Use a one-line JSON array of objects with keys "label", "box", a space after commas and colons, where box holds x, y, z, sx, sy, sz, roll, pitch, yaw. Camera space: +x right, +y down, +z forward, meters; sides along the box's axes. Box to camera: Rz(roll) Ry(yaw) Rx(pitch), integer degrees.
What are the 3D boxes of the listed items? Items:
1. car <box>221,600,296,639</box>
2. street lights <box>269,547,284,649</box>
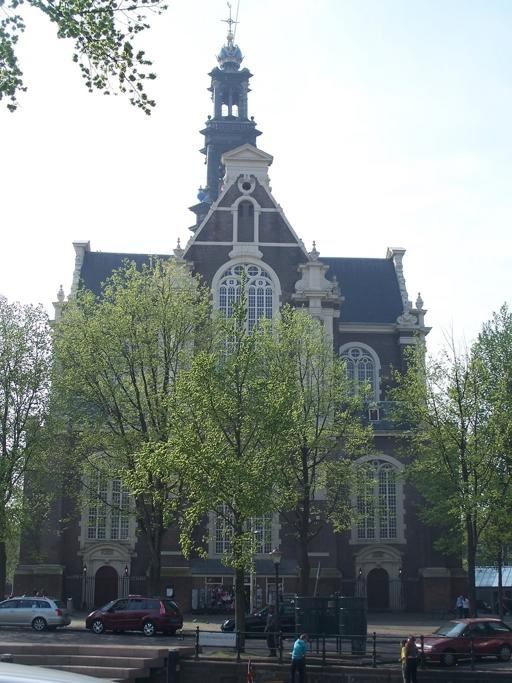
[{"label": "car", "box": [0.353, 10.133, 41.455, 3.611, 1.154, 1.587, 2, -12, -3]}, {"label": "street lights", "box": [0.640, 9.006, 40.088, 0.619, 3.974, 0.594, 3, -5, -1]}]
